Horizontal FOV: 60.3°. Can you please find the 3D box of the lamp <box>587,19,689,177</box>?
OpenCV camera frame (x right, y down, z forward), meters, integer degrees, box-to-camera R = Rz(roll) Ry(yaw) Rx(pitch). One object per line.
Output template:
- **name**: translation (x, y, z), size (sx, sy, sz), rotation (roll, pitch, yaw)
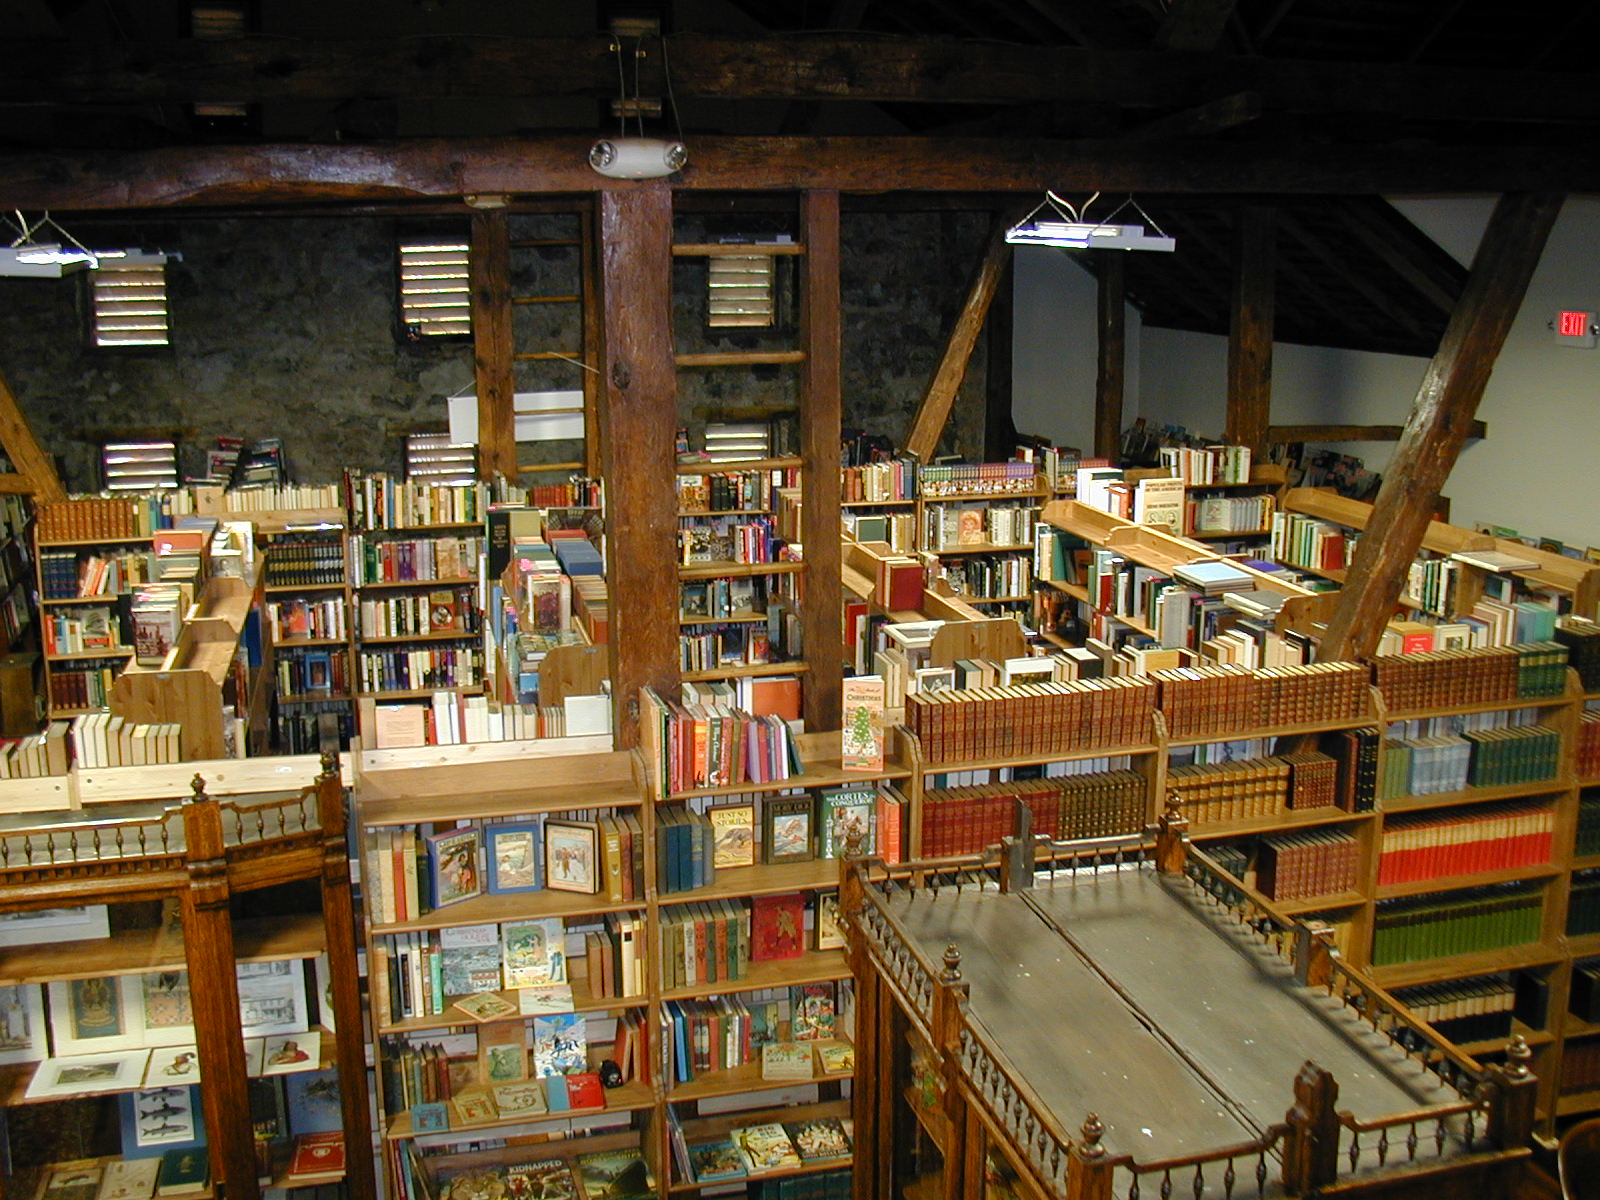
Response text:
- **lamp**: translation (-0.784, -2.336, 6.587), size (0.463, 0.819, 1.183), rotation (-5, 5, -4)
